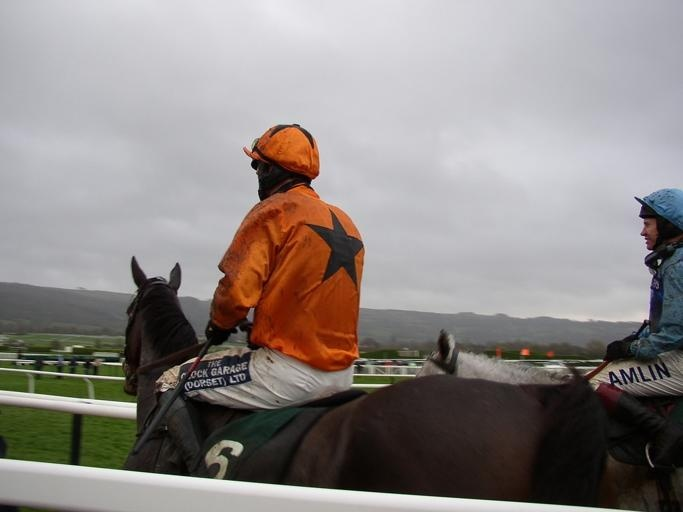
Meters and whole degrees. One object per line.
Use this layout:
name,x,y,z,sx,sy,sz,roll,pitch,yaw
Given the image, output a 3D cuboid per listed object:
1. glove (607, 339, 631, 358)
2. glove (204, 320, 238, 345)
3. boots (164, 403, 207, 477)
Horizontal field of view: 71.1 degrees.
glove,1.784,0.609,3.100,0.098,0.052,0.130,-3,-11,-23
glove,-0.621,0.385,2.428,0.158,0.060,0.120,-9,-39,33
boots,-0.746,0.927,2.371,0.131,0.457,0.115,-10,24,-5
